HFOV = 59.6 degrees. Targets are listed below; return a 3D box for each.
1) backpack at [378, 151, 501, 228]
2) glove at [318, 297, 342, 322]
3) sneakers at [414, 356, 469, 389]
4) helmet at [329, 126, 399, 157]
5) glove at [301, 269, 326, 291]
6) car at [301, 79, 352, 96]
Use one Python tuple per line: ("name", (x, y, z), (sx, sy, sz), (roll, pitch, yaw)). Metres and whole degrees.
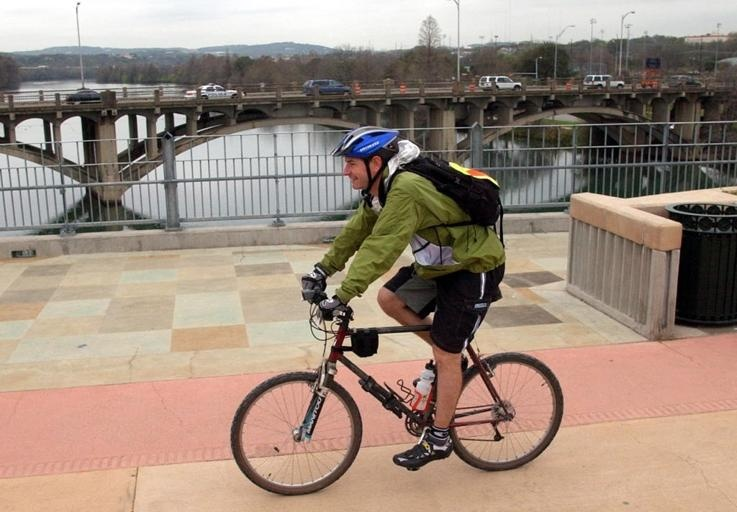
("backpack", (0.400, -0.318, 4.371), (0.912, 0.451, 0.562), (-14, -12, -4))
("glove", (-0.237, 0.340, 4.043), (0.162, 0.129, 0.120), (5, -1, -4))
("sneakers", (0.511, 0.820, 4.576), (0.314, 0.114, 0.215), (-5, 6, -9))
("helmet", (-0.015, -0.783, 4.319), (0.487, 0.153, 0.345), (-14, 25, -9))
("glove", (-0.359, 0.172, 4.272), (0.154, 0.147, 0.259), (-4, 14, -4))
("car", (-3.562, -14.167, 54.075), (3.031, 1.191, 4.082), (8, 17, 36))
